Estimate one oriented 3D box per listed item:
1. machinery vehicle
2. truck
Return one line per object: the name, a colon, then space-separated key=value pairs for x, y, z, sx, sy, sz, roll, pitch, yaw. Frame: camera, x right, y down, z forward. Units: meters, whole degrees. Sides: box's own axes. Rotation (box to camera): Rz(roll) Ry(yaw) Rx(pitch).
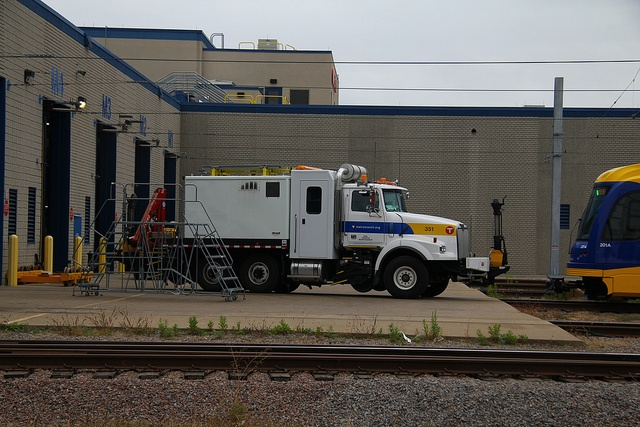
machinery vehicle: x=-6.082 y=1.172 z=30.185 sx=1.851 sy=3.559 sz=5.111 roll=-2 pitch=11 yaw=-11
truck: x=0.378 y=0.568 z=31.808 sx=11.454 sy=5.349 sz=4.289 roll=-1 pitch=1 yaw=7
